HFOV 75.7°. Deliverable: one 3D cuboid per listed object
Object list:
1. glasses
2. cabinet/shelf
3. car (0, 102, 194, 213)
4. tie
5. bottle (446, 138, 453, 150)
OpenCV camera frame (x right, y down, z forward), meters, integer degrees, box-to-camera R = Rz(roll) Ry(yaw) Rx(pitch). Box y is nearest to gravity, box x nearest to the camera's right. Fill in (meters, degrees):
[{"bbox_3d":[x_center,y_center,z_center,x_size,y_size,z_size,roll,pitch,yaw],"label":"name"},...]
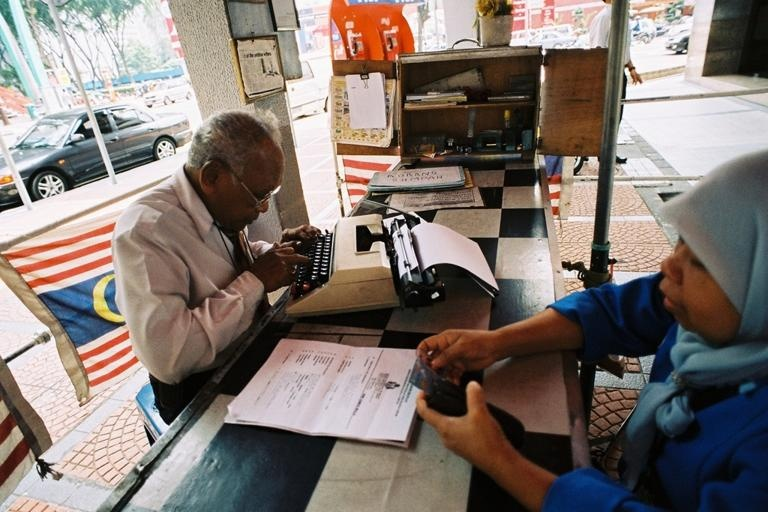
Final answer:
[{"bbox_3d":[-0.609,-0.312,2.167,0.067,0.220,0.214,-38,4,4],"label":"glasses"},{"bbox_3d":[0.622,-0.954,3.164,0.927,0.633,0.495,9,21,31],"label":"cabinet/shelf"},{"bbox_3d":[-4.125,-1.517,7.131,1.085,0.811,2.553,2,18,45],"label":"car"},{"bbox_3d":[-0.648,0.072,2.481,0.148,0.461,0.150,-12,1,-4],"label":"tie"},{"bbox_3d":[0.464,-0.774,3.411,0.071,0.064,0.016,2,-18,-8],"label":"bottle"}]
